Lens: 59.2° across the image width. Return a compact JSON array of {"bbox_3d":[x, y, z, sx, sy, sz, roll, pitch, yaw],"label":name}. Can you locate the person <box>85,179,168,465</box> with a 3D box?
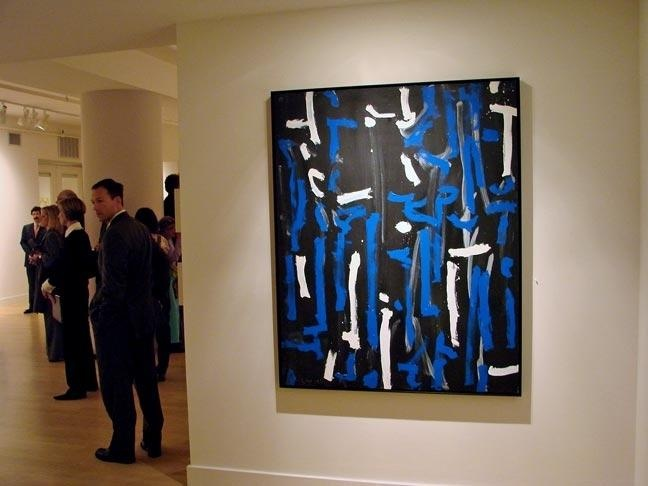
[{"bbox_3d":[-1.516,0.717,4.295,0.539,1.864,0.314,-6,9,-20],"label":"person"}]
